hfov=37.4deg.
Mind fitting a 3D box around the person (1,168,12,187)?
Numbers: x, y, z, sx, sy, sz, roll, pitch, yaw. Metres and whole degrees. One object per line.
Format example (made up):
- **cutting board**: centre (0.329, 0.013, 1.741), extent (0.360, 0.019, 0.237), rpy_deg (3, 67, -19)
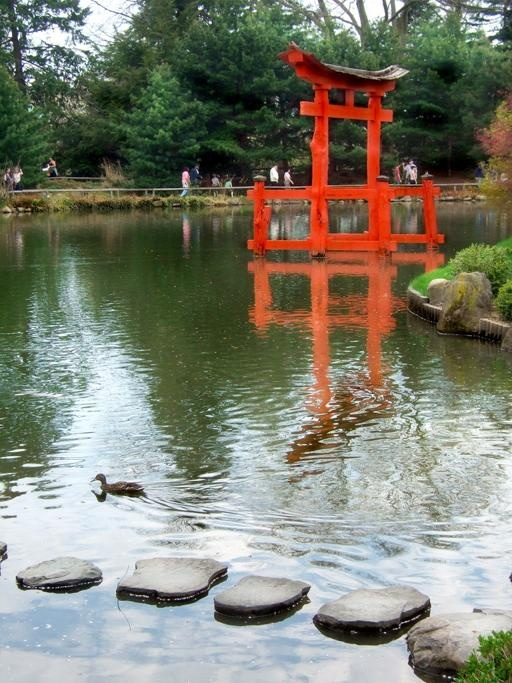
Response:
- **person**: centre (-15.356, -10.191, 46.773), extent (0.560, 1.490, 2.293), rpy_deg (-3, 5, -17)
